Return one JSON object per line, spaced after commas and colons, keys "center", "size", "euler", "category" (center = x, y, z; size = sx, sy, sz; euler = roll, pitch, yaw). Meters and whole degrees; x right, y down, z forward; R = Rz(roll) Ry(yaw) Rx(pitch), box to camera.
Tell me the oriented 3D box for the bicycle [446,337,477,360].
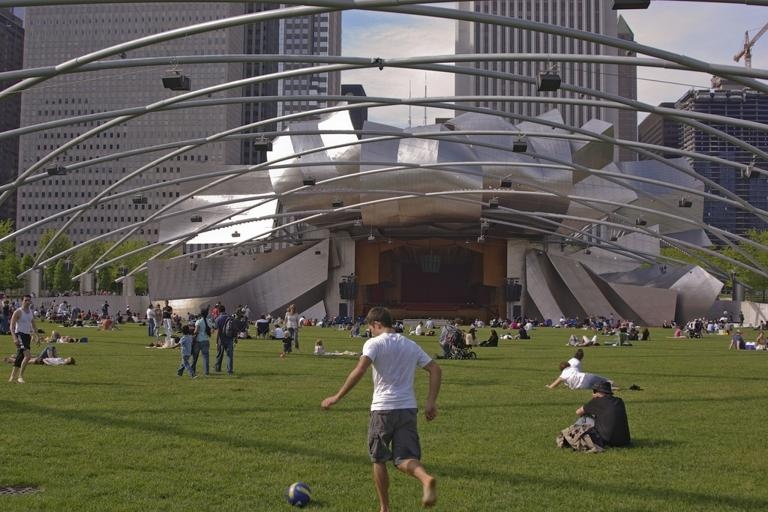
{"center": [5.753, 7.424, 90.856], "size": [2.725, 1.410, 1.151], "euler": [5, -11, -3], "category": "bicycle"}
